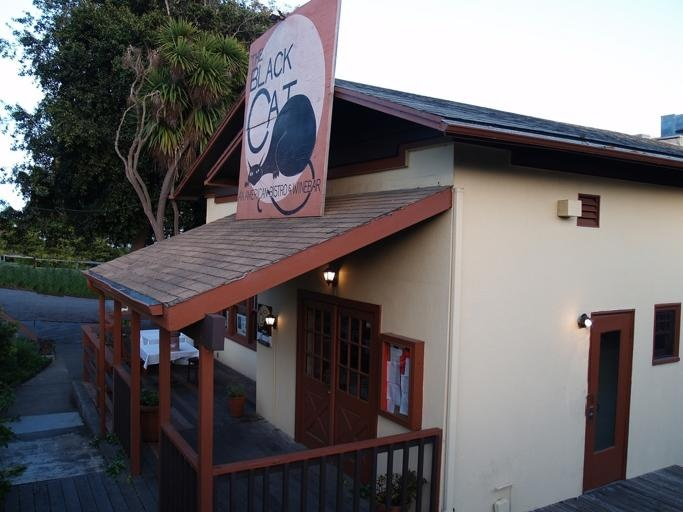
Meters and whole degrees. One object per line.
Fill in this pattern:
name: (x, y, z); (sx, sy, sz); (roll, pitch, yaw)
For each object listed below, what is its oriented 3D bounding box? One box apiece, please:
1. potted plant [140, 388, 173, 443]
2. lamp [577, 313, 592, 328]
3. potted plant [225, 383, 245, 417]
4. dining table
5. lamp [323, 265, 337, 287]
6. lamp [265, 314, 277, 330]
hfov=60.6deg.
potted plant: (-3.555, 2.981, 10.813); (0.301, 0.894, 0.577); (-1, 5, -21)
lamp: (3.888, 1.028, 9.309); (0.317, 0.251, 0.145); (-3, 6, -35)
potted plant: (-2.170, 2.972, 12.122); (0.318, 0.603, 0.343); (0, 5, -13)
dining table: (-4.337, 2.501, 14.658); (1.310, 1.170, 2.155); (-1, 6, -20)
lamp: (-0.189, 0.330, 10.051); (0.278, 0.482, 0.286); (0, 4, -14)
lamp: (-1.411, 1.295, 11.599); (0.144, 0.278, 0.292); (-3, 6, -37)
